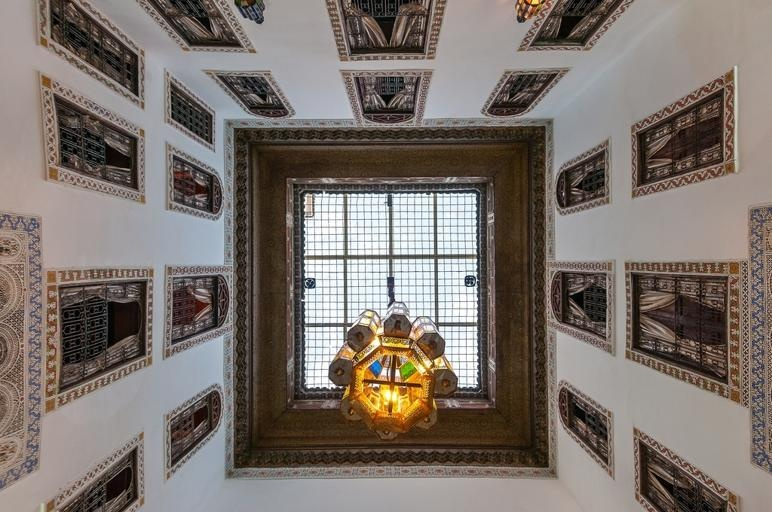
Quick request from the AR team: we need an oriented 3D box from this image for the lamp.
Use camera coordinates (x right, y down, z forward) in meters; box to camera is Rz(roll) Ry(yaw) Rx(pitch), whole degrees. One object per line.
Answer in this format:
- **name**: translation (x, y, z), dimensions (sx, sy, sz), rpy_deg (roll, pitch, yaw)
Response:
- **lamp**: translation (0.219, 1.415, 6.657), dimensions (1.108, 1.128, 1.680), rpy_deg (-6, -97, -22)
